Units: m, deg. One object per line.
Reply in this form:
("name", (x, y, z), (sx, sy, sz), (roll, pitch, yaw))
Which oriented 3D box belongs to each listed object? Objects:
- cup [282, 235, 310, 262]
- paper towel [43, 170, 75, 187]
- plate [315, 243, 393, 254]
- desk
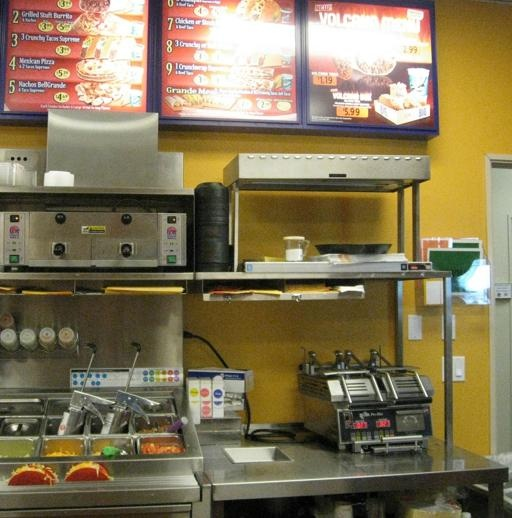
("cup", (0.191, -0.038, 2.642), (0.135, 0.116, 0.088), (0, -1, 10))
("paper towel", (-0.783, -0.305, 2.494), (0.091, 0.050, 0.087), (1, 1, -14))
("plate", (0.399, -0.036, 2.566), (0.297, 0.046, 0.092), (-1, 2, 10))
("desk", (0.345, 0.266, 2.622), (1.177, 1.432, 0.976), (-2, 2, -5))
